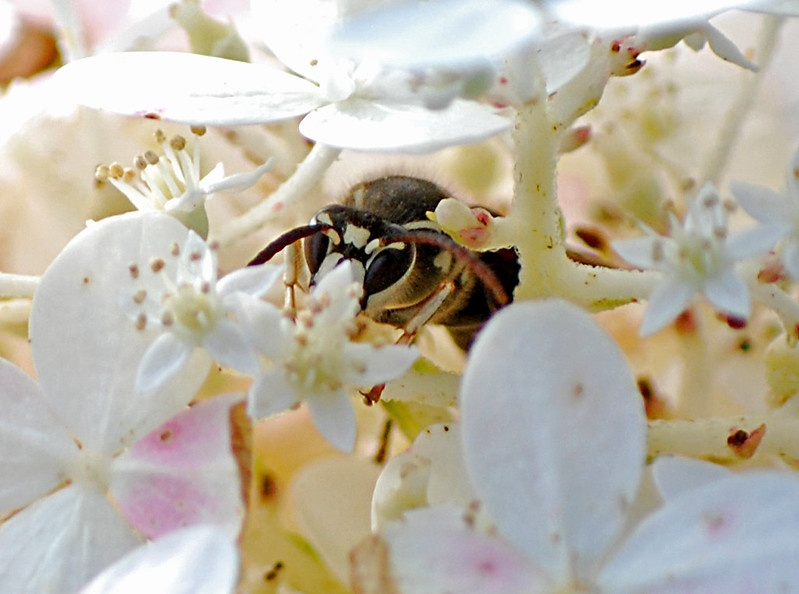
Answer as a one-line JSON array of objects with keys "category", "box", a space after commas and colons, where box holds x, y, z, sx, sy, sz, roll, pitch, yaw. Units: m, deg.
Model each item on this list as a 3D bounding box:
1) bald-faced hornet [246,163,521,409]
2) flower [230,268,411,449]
[{"category": "bald-faced hornet", "box": [-0.002, -0.022, 1.603, 0.222, 0.337, 0.190, 22, 109, 21]}, {"category": "flower", "box": [-0.062, 0.058, 1.311, 0.137, 0.097, 0.122, -32, 57, -8]}]
